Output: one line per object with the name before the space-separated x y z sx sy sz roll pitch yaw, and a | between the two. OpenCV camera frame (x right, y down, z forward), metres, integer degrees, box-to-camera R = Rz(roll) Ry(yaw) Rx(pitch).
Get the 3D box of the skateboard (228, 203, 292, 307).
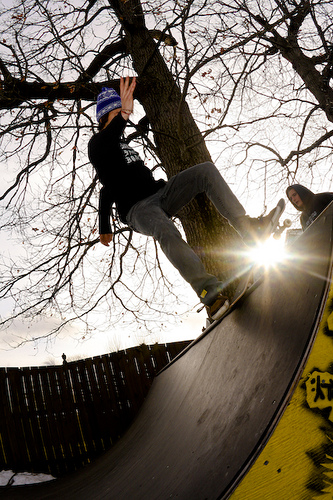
skateboard | 0.492 0.036 2.105 0.210 0.120 0.853 94 -159 -57
